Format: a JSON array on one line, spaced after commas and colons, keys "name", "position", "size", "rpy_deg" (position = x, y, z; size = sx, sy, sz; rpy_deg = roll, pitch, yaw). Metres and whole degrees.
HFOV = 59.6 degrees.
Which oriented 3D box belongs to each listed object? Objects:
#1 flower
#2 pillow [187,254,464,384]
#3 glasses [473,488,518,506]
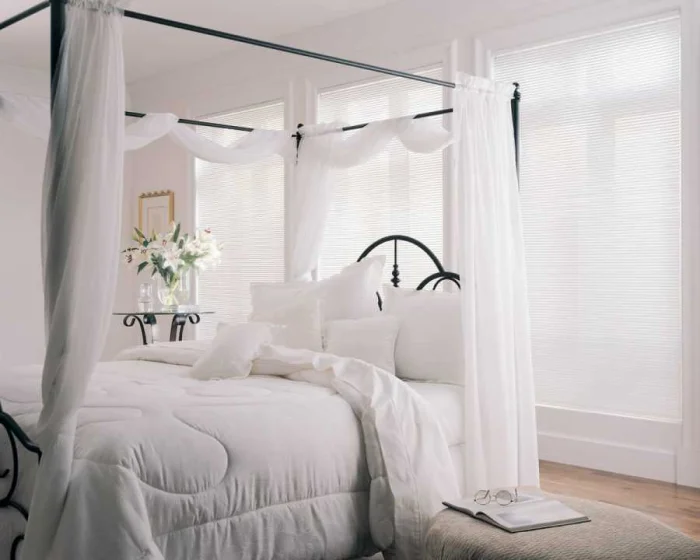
[{"name": "flower", "position": [-1.504, -0.144, 4.994], "size": [0.610, 0.428, 0.555], "rpy_deg": [0, -16, -32]}, {"name": "pillow", "position": [0.031, 0.165, 3.464], "size": [0.976, 0.766, 0.286], "rpy_deg": [-3, -25, 30]}, {"name": "glasses", "position": [0.546, 0.817, 2.329], "size": [0.139, 0.041, 0.135], "rpy_deg": [1, -10, 1]}]
